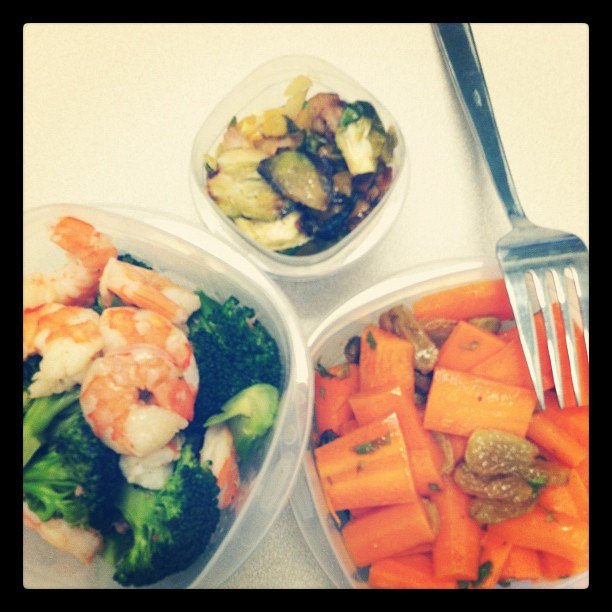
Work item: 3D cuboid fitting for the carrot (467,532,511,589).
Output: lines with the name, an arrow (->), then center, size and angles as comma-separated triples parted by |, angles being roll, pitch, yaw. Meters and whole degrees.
carrot -> 0.689, 0.912, 2.425 | 0.100, 0.044, 0.202 | 21, 95, 5

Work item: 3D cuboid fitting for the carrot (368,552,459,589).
carrot -> 0.398, 0.984, 2.403 | 0.271, 0.099, 0.162 | 0, 100, -2

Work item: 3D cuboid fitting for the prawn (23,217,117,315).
prawn -> -0.857, -0.146, 2.555 | 0.251, 0.106, 0.384 | 10, 85, 2

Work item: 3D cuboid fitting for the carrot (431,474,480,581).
carrot -> 0.583, 0.885, 2.505 | 0.175, 0.138, 0.408 | -14, 25, 24

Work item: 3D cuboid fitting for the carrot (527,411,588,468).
carrot -> 0.933, 0.499, 2.442 | 0.228, 0.114, 0.094 | 24, 52, 19

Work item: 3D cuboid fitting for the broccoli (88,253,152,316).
broccoli -> -0.690, -0.065, 2.440 | 0.182, 0.053, 0.235 | -35, 78, 11

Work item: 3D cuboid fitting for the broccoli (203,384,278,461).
broccoli -> -0.215, 0.405, 2.538 | 0.374, 0.126, 0.293 | -16, 34, 43

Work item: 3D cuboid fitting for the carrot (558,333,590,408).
carrot -> 0.997, 0.198, 2.481 | 0.009, 0.115, 0.362 | 2, 80, -36

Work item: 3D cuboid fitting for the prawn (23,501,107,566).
prawn -> -0.861, 0.848, 2.424 | 0.296, 0.081, 0.174 | 33, 99, -3

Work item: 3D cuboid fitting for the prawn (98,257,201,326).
prawn -> -0.613, 0.020, 2.525 | 0.367, 0.236, 0.234 | 10, 82, -4
